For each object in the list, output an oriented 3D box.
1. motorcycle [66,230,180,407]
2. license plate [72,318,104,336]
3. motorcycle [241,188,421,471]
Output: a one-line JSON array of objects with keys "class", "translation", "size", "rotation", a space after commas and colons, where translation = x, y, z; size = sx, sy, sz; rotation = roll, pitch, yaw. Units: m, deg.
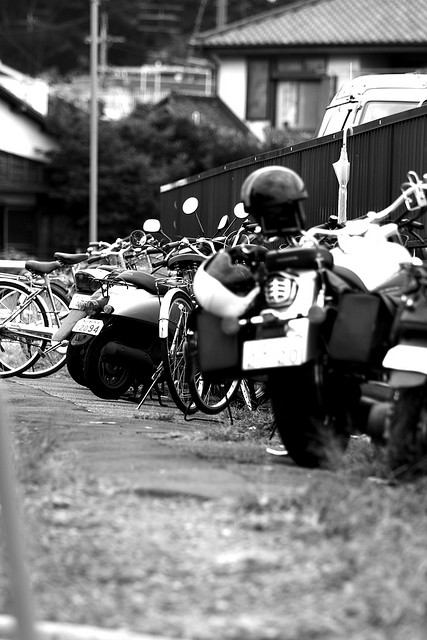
[{"class": "motorcycle", "translation": [-0.615, 0.075, 4.589], "size": [1.381, 0.867, 0.667], "rotation": [-2, 8, -22]}, {"class": "license plate", "translation": [-0.882, 0.044, 4.529], "size": [0.293, 0.117, 0.072], "rotation": [-1, -7, 44]}, {"class": "motorcycle", "translation": [0.362, 0.052, 1.982], "size": [0.369, 0.630, 0.916], "rotation": [3, 6, 30]}]
